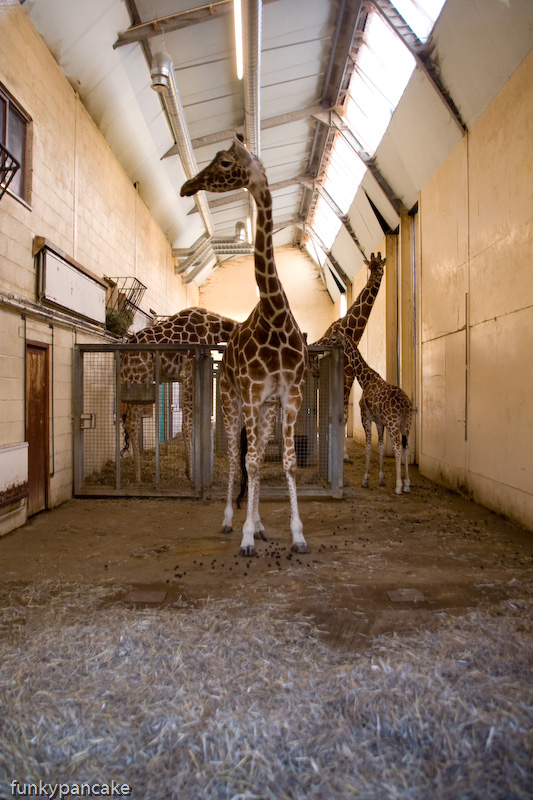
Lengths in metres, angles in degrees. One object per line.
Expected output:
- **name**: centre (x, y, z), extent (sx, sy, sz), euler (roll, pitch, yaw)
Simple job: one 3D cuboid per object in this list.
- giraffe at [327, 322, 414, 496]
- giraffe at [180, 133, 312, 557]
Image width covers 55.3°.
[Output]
- **giraffe**: centre (1.386, 0.110, 6.432), extent (0.515, 1.931, 1.765), euler (0, -1, -5)
- **giraffe**: centre (-0.102, -0.402, 3.797), extent (0.814, 2.900, 1.015), euler (0, -1, -9)
